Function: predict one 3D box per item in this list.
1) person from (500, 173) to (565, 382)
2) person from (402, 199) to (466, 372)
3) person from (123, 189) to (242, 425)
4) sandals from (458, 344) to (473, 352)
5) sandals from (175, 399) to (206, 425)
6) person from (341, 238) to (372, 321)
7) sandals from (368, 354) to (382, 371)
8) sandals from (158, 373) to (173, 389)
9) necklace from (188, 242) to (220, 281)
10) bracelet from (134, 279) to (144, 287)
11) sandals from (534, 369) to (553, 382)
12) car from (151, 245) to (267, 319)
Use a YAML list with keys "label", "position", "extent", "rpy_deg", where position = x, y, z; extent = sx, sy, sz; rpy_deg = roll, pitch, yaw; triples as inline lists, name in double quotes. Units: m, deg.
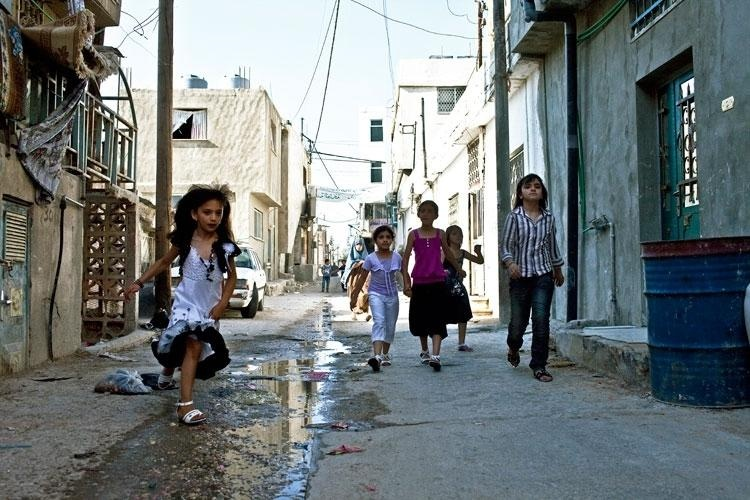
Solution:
- label: "person"
  position: [1.723, 0.279, 7.240]
  extent: [0.640, 2.230, 0.677]
  rpy_deg: [-1, 3, 16]
- label: "person"
  position: [0.621, 0.546, 8.092]
  extent: [0.607, 1.737, 0.729]
  rpy_deg: [-1, 3, 14]
- label: "person"
  position: [-1.676, 0.457, 6.048]
  extent: [0.830, 2.103, 0.734]
  rpy_deg: [-2, 3, -13]
- label: "sandals"
  position: [1.238, 1.356, 9.053]
  extent: [0.196, 0.100, 0.083]
  rpy_deg: [2, 2, -8]
- label: "sandals"
  position: [-1.644, 1.427, 5.781]
  extent: [0.287, 0.194, 0.154]
  rpy_deg: [-1, 3, 6]
- label: "person"
  position: [-0.316, 0.545, 14.062]
  extent: [0.789, 1.864, 0.713]
  rpy_deg: [11, 22, 29]
- label: "sandals"
  position: [-0.019, 1.412, 7.961]
  extent: [0.077, 0.108, 0.237]
  rpy_deg: [1, -45, 8]
- label: "sandals"
  position: [-2.194, 1.383, 6.903]
  extent: [0.183, 0.202, 0.114]
  rpy_deg: [4, 5, -15]
- label: "necklace"
  position: [-1.606, 0.154, 6.177]
  extent: [0.399, 0.406, 0.244]
  rpy_deg: [2, -3, -32]
- label: "bracelet"
  position: [-2.221, 0.316, 6.132]
  extent: [0.074, 0.043, 0.077]
  rpy_deg: [25, -31, 3]
- label: "sandals"
  position: [1.795, 1.343, 7.019]
  extent: [0.201, 0.104, 0.238]
  rpy_deg: [-1, 3, 14]
- label: "car"
  position: [-3.535, 0.855, 16.541]
  extent: [1.574, 1.508, 3.407]
  rpy_deg: [-1, -4, 1]
